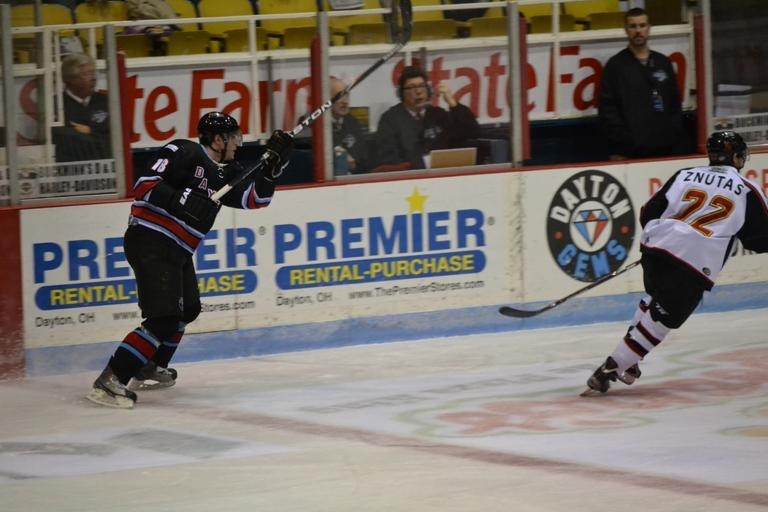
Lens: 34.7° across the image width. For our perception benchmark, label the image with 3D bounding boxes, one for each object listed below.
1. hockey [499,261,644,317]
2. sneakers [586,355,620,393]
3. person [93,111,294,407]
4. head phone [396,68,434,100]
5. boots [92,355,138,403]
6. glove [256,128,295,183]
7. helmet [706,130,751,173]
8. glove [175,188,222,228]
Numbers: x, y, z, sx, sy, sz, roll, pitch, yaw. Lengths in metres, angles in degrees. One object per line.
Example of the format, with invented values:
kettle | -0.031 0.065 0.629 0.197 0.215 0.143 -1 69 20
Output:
hockey | 1.420 0.240 9.713 1.110 0.085 0.139 -19 34 19
sneakers | 1.463 0.794 8.273 0.182 0.263 0.124 41 12 4
person | -1.389 0.006 8.340 1.348 1.952 0.478 -3 5 -11
head phone | 0.338 -1.344 9.651 0.400 0.213 0.440 -10 4 7
boots | -1.835 0.844 8.250 0.364 0.228 0.119 24 -8 -40
glove | -0.718 -0.687 8.312 0.241 0.342 0.132 25 20 22
helmet | 2.357 -0.752 8.481 0.347 0.252 0.244 -7 18 -24
glove | -1.255 -0.327 8.143 0.266 0.225 0.092 27 8 -11
